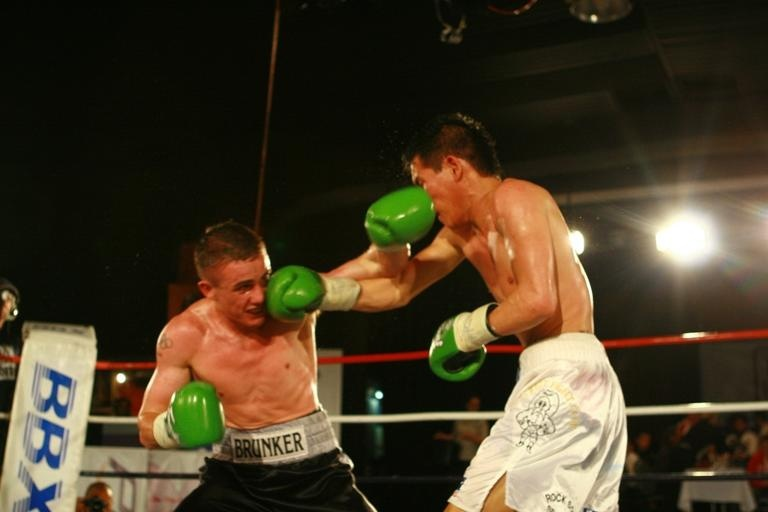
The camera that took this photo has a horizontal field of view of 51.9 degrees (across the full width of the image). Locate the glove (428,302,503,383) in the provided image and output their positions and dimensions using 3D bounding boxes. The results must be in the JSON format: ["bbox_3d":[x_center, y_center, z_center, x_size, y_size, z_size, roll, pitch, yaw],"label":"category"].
[{"bbox_3d":[0.432,0.499,4.652,0.326,0.212,0.518,14,-45,-25],"label":"glove"}]

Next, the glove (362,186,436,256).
[{"bbox_3d":[0.121,-0.224,4.737,0.413,0.302,0.316,-17,-41,27],"label":"glove"}]

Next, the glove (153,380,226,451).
[{"bbox_3d":[-1.081,0.896,4.424,0.264,0.295,0.423,-10,-4,-34],"label":"glove"}]
